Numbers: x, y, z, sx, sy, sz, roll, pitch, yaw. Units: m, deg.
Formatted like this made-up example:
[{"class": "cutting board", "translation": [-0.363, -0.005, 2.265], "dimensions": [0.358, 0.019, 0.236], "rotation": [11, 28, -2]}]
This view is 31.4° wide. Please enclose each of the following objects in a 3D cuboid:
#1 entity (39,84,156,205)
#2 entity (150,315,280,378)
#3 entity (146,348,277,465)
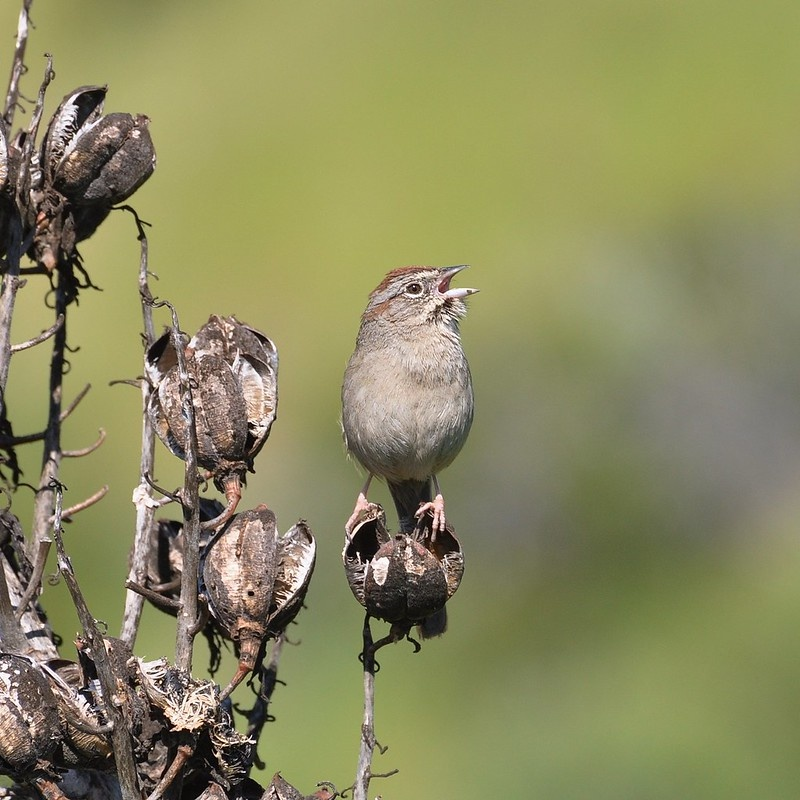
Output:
[{"class": "entity", "translation": [-0.759, -0.638, 3.615], "dimensions": [0.300, 0.231, 0.226], "rotation": [27, -54, -29]}, {"class": "entity", "translation": [-0.483, -0.122, 3.591], "dimensions": [0.307, 0.138, 0.340], "rotation": [-15, -5, 40]}, {"class": "entity", "translation": [-0.462, 0.007, 3.677], "dimensions": [0.437, 0.239, 0.609], "rotation": [10, -5, -17]}]
